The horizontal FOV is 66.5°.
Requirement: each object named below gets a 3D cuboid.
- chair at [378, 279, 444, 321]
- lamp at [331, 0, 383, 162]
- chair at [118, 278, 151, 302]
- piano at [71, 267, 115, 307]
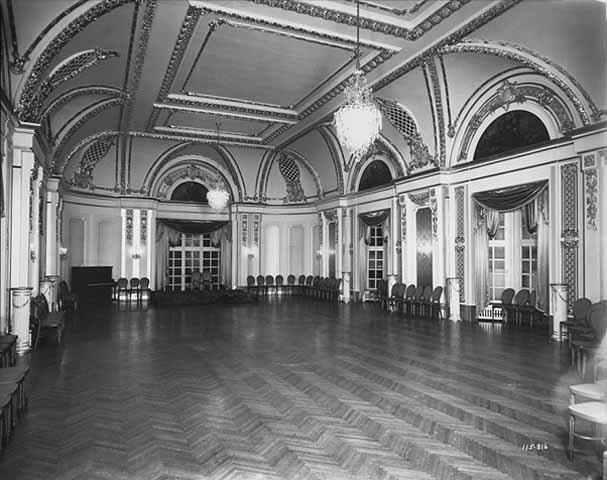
[{"bbox_3d":[3.120,1.716,13.123,0.529,0.948,2.247,1,-5,-28],"label":"chair"},{"bbox_3d":[1.069,-2.907,8.970,0.812,2.885,2.295,-1,-3,9],"label":"lamp"},{"bbox_3d":[-6.054,1.812,16.620,1.220,0.891,1.630,-1,-4,2],"label":"chair"},{"bbox_3d":[-6.866,1.489,15.136,1.347,1.745,1.032,2,-9,-26],"label":"piano"}]
